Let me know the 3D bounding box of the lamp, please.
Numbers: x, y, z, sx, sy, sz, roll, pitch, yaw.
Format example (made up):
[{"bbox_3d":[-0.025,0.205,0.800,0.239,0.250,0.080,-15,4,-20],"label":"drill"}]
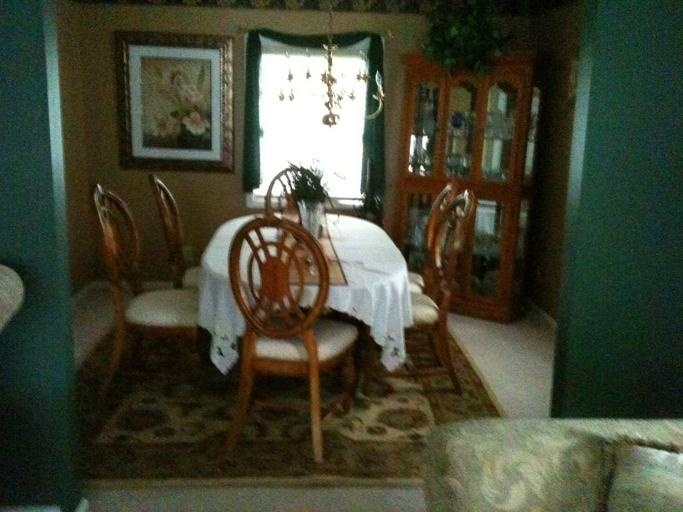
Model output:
[{"bbox_3d":[-0.026,-0.560,1.664,0.311,0.344,0.098,1,16,7],"label":"lamp"}]

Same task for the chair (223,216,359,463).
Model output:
[{"bbox_3d":[-0.137,0.197,1.565,0.350,0.664,0.351,-1,15,-5],"label":"chair"}]

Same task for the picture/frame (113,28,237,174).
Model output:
[{"bbox_3d":[-0.490,-0.478,1.662,0.381,0.444,0.034,1,7,0],"label":"picture/frame"}]

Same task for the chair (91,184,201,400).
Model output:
[{"bbox_3d":[-0.546,0.114,1.761,0.412,0.659,0.358,0,10,-6],"label":"chair"}]
